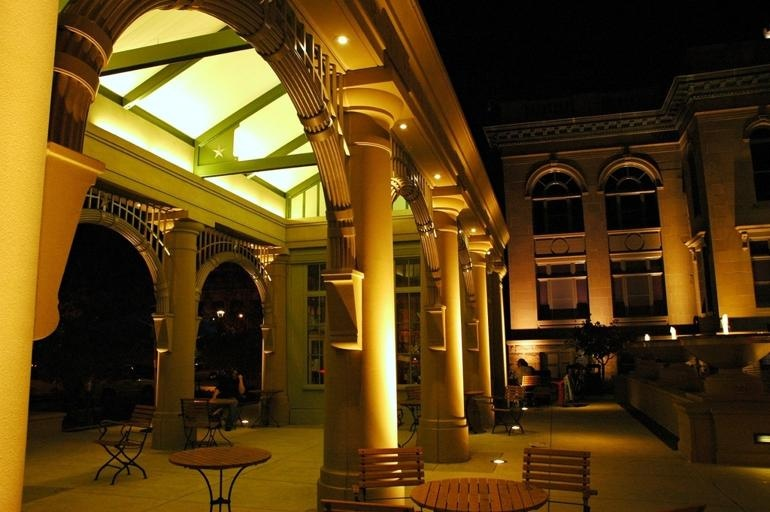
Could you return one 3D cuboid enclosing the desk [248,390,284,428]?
[{"bbox_3d":[-3.215,4.260,17.213,1.114,1.030,1.051,-1,-27,3],"label":"desk"}]
